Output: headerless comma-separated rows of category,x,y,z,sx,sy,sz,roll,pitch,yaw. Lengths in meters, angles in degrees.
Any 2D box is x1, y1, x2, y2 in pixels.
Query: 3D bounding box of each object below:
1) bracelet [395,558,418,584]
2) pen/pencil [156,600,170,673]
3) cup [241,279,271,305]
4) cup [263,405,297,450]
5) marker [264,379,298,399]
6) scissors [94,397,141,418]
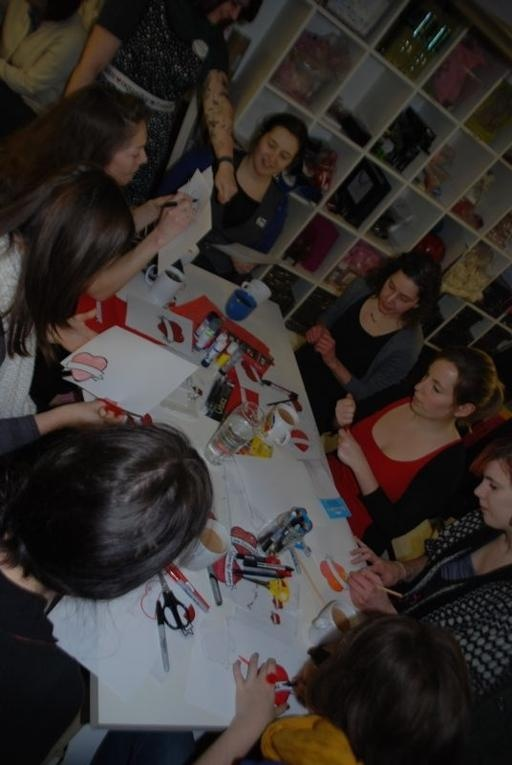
bracelet,0.482,0.598,1.753,0.058,0.048,0.144,66,13,-2
pen/pencil,-0.187,0.504,1.085,0.016,0.006,0.129,17,60,-61
cup,0.009,-0.337,2.091,0.110,0.078,0.088,29,-11,9
cup,0.069,0.110,1.632,0.081,0.125,0.132,15,41,-11
marker,0.081,0.023,1.853,0.102,0.040,0.021,30,-26,-30
scissors,-0.343,0.065,1.337,0.142,0.035,0.045,20,-10,-16
